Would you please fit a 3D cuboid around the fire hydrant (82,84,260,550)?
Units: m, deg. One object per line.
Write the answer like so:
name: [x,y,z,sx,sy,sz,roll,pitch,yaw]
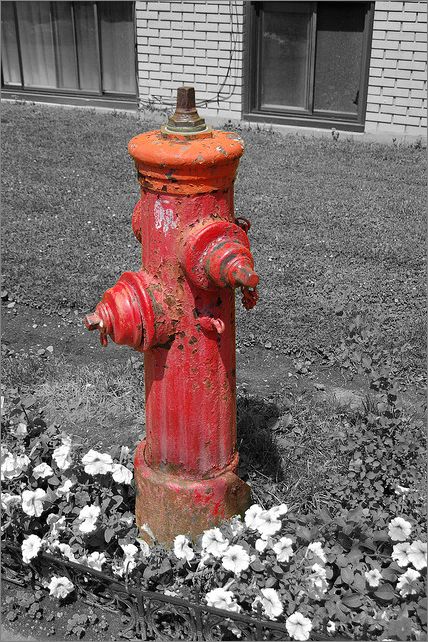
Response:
fire hydrant: [-0.126,0.089,1.951,0.505,1.559,0.560,2,16,3]
